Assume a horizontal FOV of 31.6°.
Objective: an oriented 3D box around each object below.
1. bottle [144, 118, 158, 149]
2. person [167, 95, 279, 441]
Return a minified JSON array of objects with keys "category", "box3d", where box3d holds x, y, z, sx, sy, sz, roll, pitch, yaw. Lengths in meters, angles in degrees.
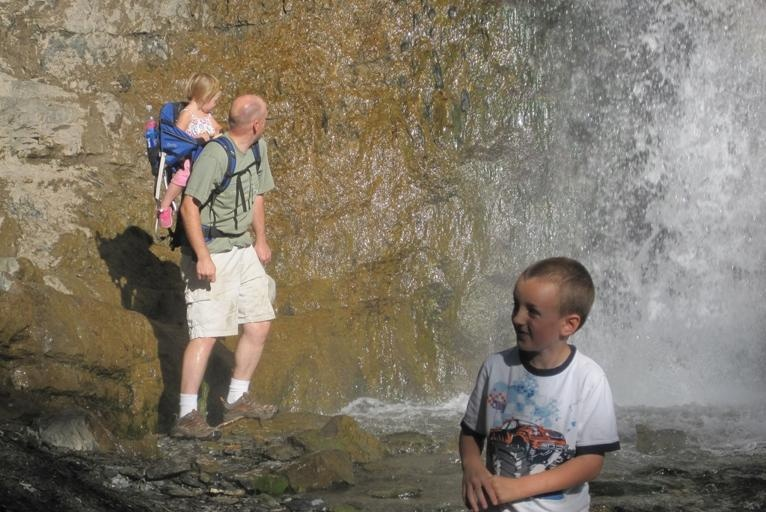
[{"category":"bottle","box3d":[-2.864,-1.483,16.731,0.157,0.434,0.323,5,-7,-10]},{"category":"person","box3d":[-1.911,0.201,16.563,1.087,4.092,1.389,3,-7,5]}]
